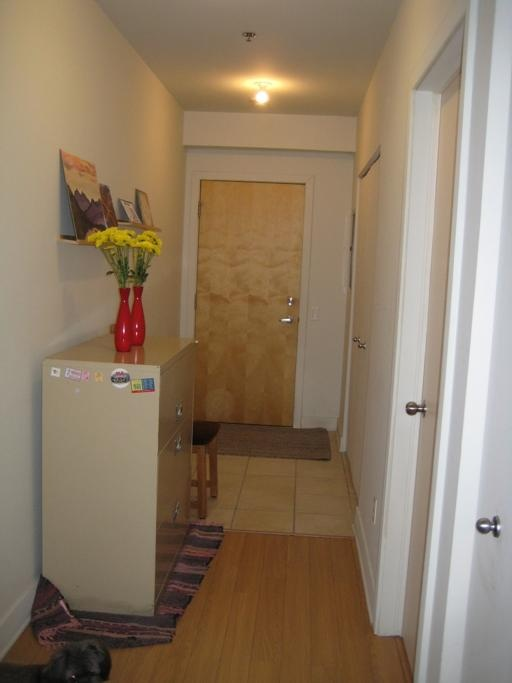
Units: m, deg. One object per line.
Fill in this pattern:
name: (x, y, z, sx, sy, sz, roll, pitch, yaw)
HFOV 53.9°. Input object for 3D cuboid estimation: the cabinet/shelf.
cabinet/shelf: (-0.559, 0.513, 2.109, 0.454, 0.996, 0.625, 3, 5, 5)

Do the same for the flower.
flower: (-0.529, -0.356, 2.174, 0.342, 0.395, 0.385, 0, 3, -9)
